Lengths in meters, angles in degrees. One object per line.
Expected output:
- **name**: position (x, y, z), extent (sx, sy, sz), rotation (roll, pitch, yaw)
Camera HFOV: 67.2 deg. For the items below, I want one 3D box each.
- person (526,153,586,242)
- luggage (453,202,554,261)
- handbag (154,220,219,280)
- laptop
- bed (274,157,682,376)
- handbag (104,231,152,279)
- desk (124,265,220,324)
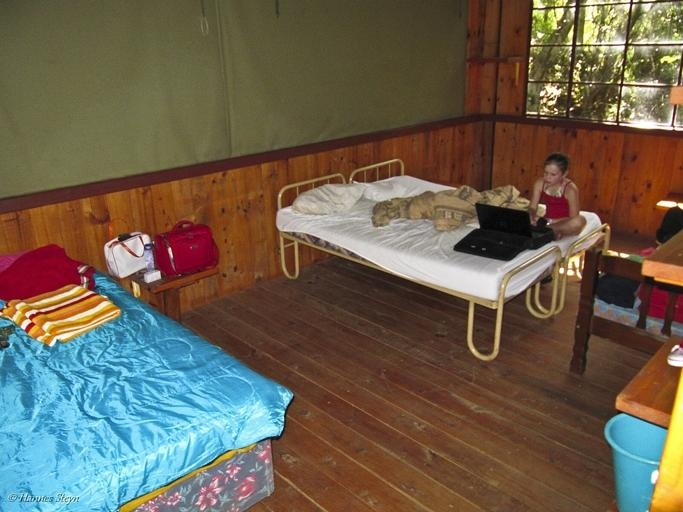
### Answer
- **person**: position (1.846, -0.536, 4.556), extent (0.599, 0.681, 0.703), rotation (2, 15, 24)
- **luggage**: position (1.342, -0.235, 4.166), extent (0.481, 0.284, 0.636), rotation (23, 36, 37)
- **handbag**: position (-1.335, -0.046, 4.277), extent (0.268, 0.345, 0.468), rotation (21, 31, 38)
- **laptop**: position (1.405, -0.182, 4.164), extent (0.442, 0.357, 0.539), rotation (-33, 38, -30)
- **bed**: position (0.960, -0.184, 5.107), extent (2.736, 1.140, 2.160), rotation (18, 28, 40)
- **handbag**: position (-1.735, -0.002, 4.115), extent (0.186, 0.281, 0.333), rotation (15, 32, 42)
- **desk**: position (-1.481, 0.302, 4.440), extent (0.603, 0.510, 0.558), rotation (-23, 37, -38)
